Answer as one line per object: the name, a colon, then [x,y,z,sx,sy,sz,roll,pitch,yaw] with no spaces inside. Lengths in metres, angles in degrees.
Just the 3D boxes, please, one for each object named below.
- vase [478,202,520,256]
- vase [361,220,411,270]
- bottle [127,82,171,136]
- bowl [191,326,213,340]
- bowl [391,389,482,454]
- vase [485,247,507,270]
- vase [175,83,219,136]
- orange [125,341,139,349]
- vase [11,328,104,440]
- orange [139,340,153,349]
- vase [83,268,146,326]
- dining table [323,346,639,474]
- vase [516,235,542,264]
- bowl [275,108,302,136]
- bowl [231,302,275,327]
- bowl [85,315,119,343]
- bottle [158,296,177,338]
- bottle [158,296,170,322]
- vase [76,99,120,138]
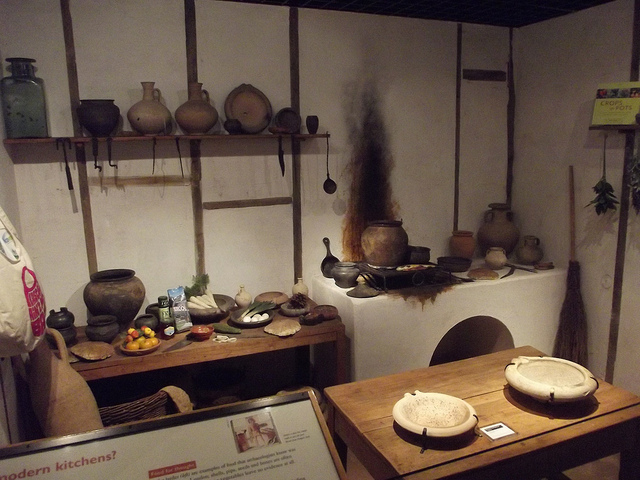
vase: [1.959,-0.138,5.723,0.505,0.684,0.507,4,10,28]
vase: [0.606,0.022,5.076,0.435,0.532,0.441,-2,6,-19]
bottle: [-1.497,-1.136,4.438,0.384,0.476,0.364,-1,4,0]
bowl: [-0.995,0.786,4.264,0.164,0.102,0.121,-6,11,-9]
bowl: [0.731,1.159,3.217,0.518,0.180,0.450,6,15,42]
vase: [1.873,0.188,5.327,0.233,0.231,0.204,-3,11,4]
vase: [-1.083,-1.091,4.472,0.443,0.551,0.426,1,3,-1]
orange: [-1.476,0.829,3.969,0.057,0.055,0.059,7,19,7]
vase: [-1.836,1.028,3.572,0.457,0.756,0.253,-1,12,15]
orange: [-1.383,0.824,3.998,0.067,0.037,0.069,9,15,15]
vase: [-1.765,0.537,4.425,0.466,0.505,0.473,-5,14,-11]
dining table: [1.028,1.159,3.474,1.836,0.321,0.927,-7,11,-15]
vase: [2.243,0.095,5.407,0.264,0.278,0.272,5,4,15]
bowl: [-0.292,-1.129,4.808,0.266,0.266,0.285,-4,11,1]
bowl: [-0.614,0.675,4.557,0.373,0.137,0.278,-6,11,-7]
bowl: [-1.788,0.712,4.151,0.200,0.154,0.220,2,11,0]
bottle: [-1.305,0.652,4.302,0.141,0.326,0.202,-10,13,-30]
bottle: [-1.340,0.581,4.323,0.090,0.189,0.108,-8,12,-18]
vase: [-1.814,-1.032,4.260,0.314,0.297,0.325,3,17,3]
